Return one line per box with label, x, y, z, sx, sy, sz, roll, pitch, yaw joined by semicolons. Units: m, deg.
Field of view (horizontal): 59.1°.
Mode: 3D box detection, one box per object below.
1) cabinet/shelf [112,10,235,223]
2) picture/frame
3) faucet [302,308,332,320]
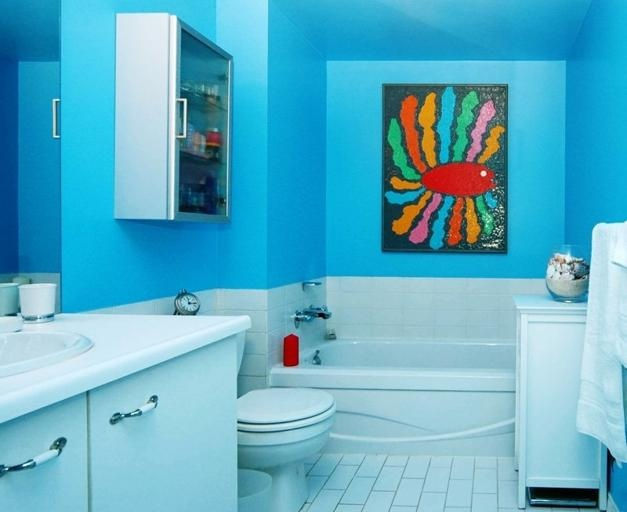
cabinet/shelf;-0.580;-0.599;2.516;0.283;0.912;0.638;1;7;35
picture/frame;1.020;-0.664;4.140;1.192;1.731;0.169;0;1;7
faucet;0.008;0.384;3.699;0.178;0.063;0.191;-4;7;-8
